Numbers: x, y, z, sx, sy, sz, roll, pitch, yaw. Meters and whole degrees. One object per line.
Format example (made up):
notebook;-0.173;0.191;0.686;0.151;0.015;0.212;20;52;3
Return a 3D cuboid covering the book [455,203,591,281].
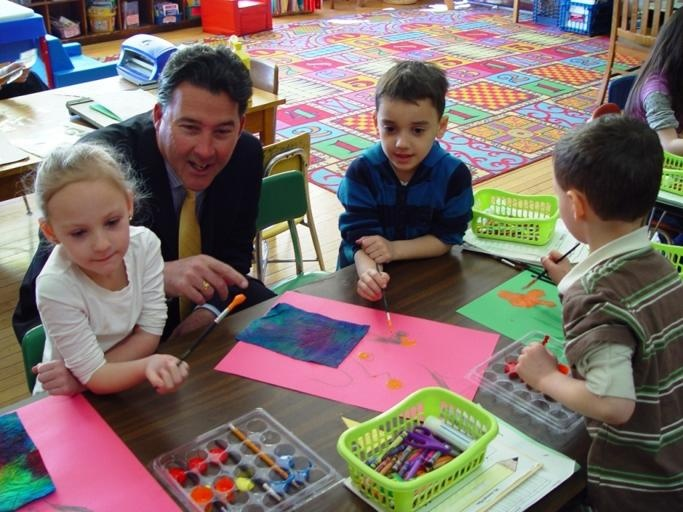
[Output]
book;0.541;-0.039;1.541;0.249;0.075;0.189;15;42;26

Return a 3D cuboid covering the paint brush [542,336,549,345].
paint brush;0.475;0.197;1.210;0.006;0.006;0.022;4;57;53

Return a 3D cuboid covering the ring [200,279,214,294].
ring;-0.376;0.084;1.461;0.011;0.032;0.032;-37;12;49

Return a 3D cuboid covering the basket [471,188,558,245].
basket;0.545;-0.104;1.668;0.267;0.104;0.204;6;36;22

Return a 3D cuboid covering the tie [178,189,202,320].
tie;-0.494;-0.010;1.686;0.062;0.440;0.051;-1;9;-15
